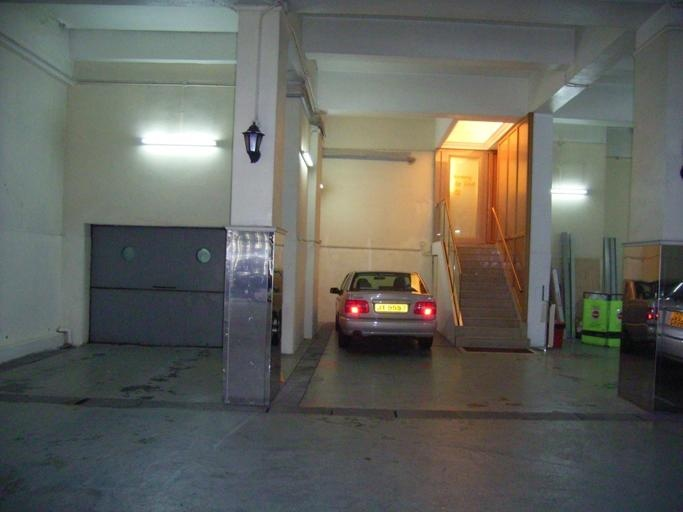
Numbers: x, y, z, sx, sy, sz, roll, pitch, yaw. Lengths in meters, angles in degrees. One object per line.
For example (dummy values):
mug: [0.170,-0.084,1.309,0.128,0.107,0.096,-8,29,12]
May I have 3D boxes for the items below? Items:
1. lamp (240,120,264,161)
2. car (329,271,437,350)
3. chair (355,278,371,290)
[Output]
lamp: [-1.221,-1.566,7.782,0.283,0.559,0.220,0,5,-8]
car: [0.858,1.128,11.336,1.339,1.017,2.866,0,2,0]
chair: [0.454,0.562,11.541,0.284,0.303,0.162,2,11,1]
